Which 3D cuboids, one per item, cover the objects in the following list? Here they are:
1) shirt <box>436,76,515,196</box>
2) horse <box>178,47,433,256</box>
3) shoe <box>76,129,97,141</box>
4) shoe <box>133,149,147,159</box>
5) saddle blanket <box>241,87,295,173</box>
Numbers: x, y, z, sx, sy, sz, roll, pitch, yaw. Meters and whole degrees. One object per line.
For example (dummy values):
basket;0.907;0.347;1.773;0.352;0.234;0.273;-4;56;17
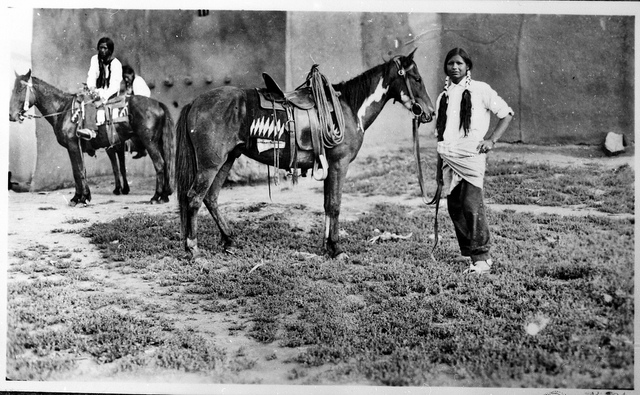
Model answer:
shirt;1.795;-0.710;7.749;0.763;1.399;0.285;2;10;17
horse;-0.173;-0.510;8.301;3.275;2.636;1.007;-1;16;-10
shoe;-3.123;-0.828;8.811;0.183;0.081;0.107;26;-12;-38
shoe;-2.543;-0.585;9.210;0.235;0.173;0.081;2;8;7
saddle blanket;-0.611;-0.782;7.904;0.598;1.016;0.215;-3;10;-7
